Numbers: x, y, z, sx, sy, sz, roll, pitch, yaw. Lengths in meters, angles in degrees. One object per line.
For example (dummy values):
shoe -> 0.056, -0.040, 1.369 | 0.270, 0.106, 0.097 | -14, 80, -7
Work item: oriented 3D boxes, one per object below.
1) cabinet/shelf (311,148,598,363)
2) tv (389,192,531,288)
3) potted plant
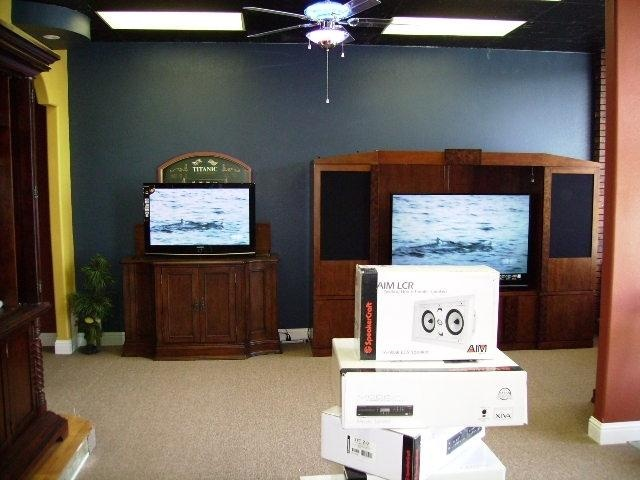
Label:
cabinet/shelf -> 1.289, 0.136, 5.255 | 2.496, 1.741, 0.463 | 0, 1, 0
tv -> 1.322, -0.069, 5.467 | 1.130, 0.693, 0.030 | 1, 4, 1
potted plant -> -2.482, 0.694, 6.076 | 0.461, 1.042, 0.541 | -6, 7, -20
